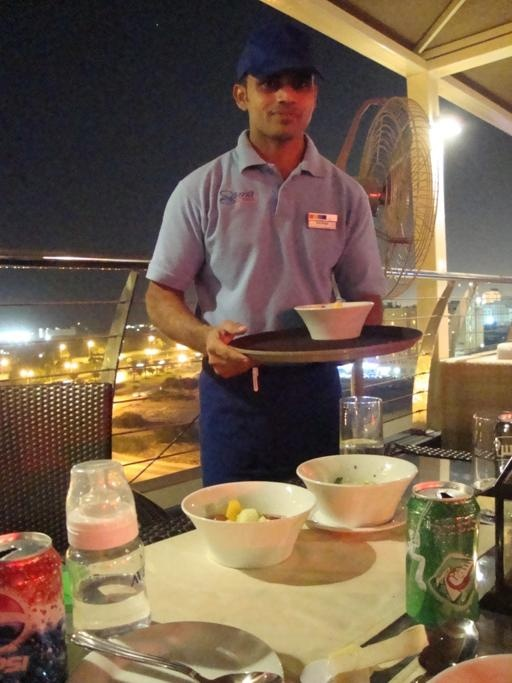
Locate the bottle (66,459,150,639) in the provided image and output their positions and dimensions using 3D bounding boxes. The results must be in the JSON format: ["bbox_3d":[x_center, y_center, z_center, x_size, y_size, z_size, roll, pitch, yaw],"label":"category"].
[{"bbox_3d":[-0.145,0.207,0.563,0.082,0.160,0.113,-1,0,-18],"label":"bottle"}]

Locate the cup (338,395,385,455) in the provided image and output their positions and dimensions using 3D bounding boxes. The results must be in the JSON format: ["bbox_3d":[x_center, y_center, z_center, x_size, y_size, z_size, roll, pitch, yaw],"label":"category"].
[{"bbox_3d":[0.187,0.152,1.006,0.075,0.103,0.068,-1,0,7],"label":"cup"}]

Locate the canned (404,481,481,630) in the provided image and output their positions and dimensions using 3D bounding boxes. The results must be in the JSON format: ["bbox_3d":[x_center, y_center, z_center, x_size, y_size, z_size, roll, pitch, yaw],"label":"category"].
[{"bbox_3d":[0.178,0.205,0.544,0.069,0.136,0.063,-1,0,20],"label":"canned"}]

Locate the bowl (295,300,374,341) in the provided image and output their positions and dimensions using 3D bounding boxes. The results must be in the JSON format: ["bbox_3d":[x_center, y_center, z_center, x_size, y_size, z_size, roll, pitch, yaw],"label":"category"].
[{"bbox_3d":[0.148,-0.058,1.111,0.109,0.042,0.104,-4,10,1],"label":"bowl"}]
